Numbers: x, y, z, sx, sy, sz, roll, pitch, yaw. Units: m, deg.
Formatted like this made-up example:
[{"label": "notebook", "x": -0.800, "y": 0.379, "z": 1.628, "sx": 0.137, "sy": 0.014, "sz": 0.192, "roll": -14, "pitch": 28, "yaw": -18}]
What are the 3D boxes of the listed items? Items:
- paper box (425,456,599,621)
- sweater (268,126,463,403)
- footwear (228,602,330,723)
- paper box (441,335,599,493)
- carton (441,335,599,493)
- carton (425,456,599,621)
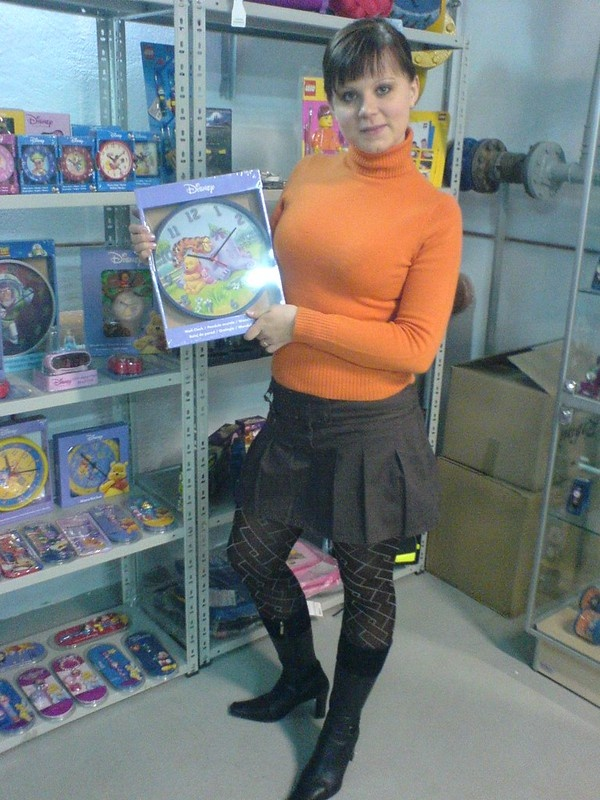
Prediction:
[{"label": "paper box", "x": 0.659, "y": 0.420, "z": 1.851, "sx": 0.298, "sy": 0.305, "sz": 0.553, "roll": 4, "pitch": 12, "yaw": -31}, {"label": "sweater", "x": 0.090, "y": -0.239, "z": 1.112, "sx": 0.401, "sy": 0.453, "sz": 0.302, "roll": 13, "pitch": 23, "yaw": 29}, {"label": "footwear", "x": -0.056, "y": 0.661, "z": 1.536, "sx": 0.241, "sy": 0.293, "sz": 0.095, "roll": -1, "pitch": 11, "yaw": -1}, {"label": "paper box", "x": 0.709, "y": 0.027, "z": 1.914, "sx": 0.433, "sy": 0.410, "sz": 0.430, "roll": -18, "pitch": 29, "yaw": -41}, {"label": "carton", "x": 0.706, "y": 0.088, "z": 1.937, "sx": 0.433, "sy": 0.410, "sz": 0.430, "roll": -18, "pitch": 29, "yaw": -41}, {"label": "carton", "x": 0.659, "y": 0.420, "z": 1.851, "sx": 0.298, "sy": 0.305, "sz": 0.553, "roll": 4, "pitch": 12, "yaw": -31}]
